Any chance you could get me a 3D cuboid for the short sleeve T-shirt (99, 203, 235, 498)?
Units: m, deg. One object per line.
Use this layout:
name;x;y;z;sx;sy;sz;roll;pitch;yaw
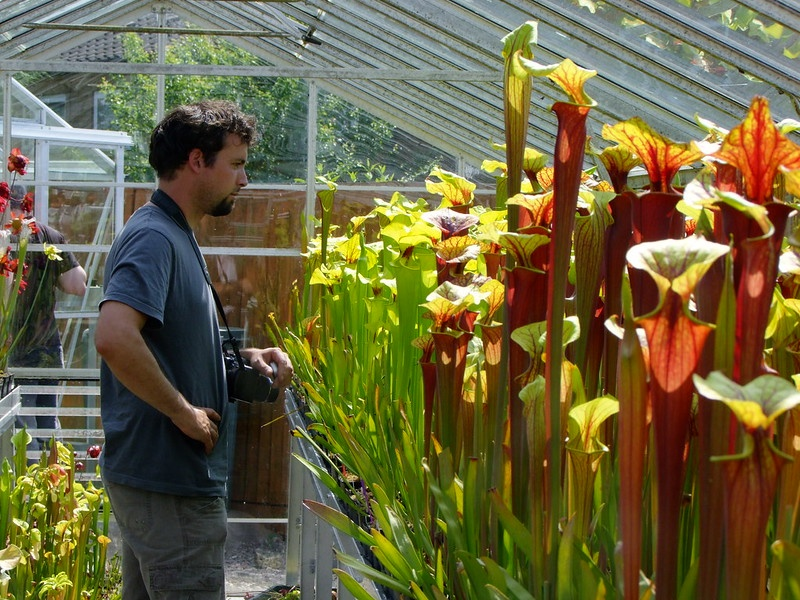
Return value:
short sleeve T-shirt;-0.740;0.144;3.150;0.424;0.966;0.293;4;3;-16
